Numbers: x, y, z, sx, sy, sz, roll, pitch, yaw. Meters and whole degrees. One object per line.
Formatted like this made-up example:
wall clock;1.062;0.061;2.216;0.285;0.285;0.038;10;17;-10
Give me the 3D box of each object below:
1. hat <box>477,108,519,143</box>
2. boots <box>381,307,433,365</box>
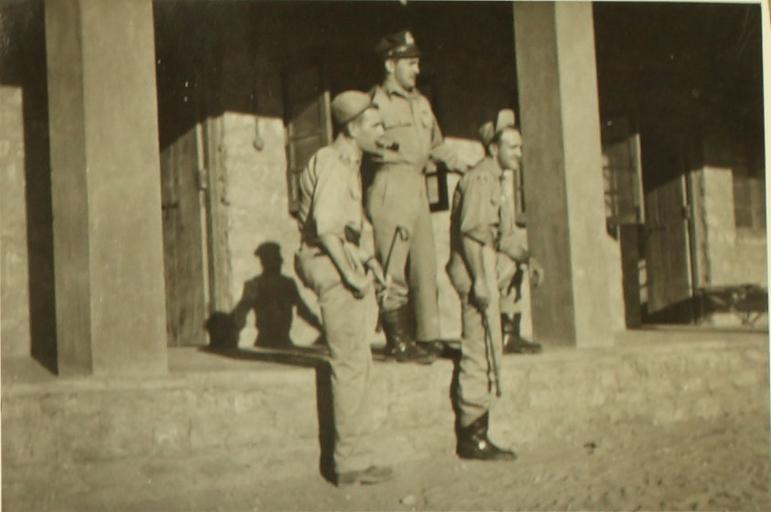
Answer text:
hat;0.749;-0.860;11.941;0.239;0.190;0.194;-37;-13;31
boots;0.150;0.504;11.715;0.372;0.380;0.181;7;24;16
